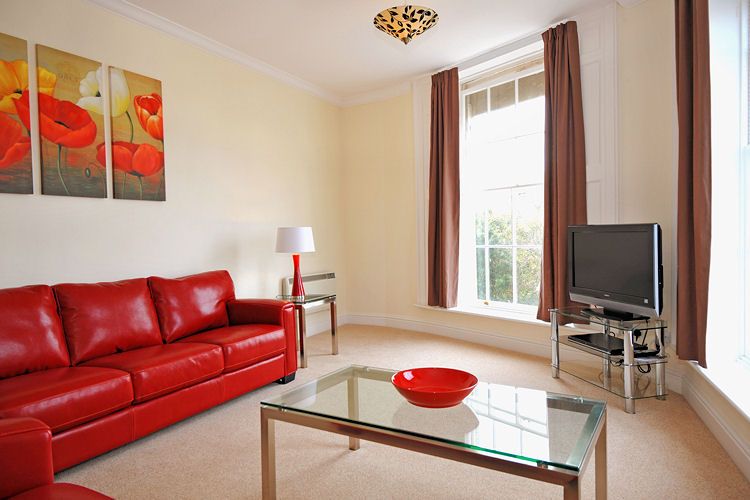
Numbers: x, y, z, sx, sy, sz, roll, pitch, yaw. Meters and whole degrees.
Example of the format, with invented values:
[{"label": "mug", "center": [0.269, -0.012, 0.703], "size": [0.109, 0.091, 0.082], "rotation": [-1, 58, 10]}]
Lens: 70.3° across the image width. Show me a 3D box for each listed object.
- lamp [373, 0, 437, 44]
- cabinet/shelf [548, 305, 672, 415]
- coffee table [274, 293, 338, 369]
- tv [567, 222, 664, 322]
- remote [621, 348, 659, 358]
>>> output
[{"label": "lamp", "center": [0.274, -2.077, 4.805], "size": [0.547, 0.371, 0.346], "rotation": [-1, 5, 1]}, {"label": "cabinet/shelf", "center": [2.151, 0.985, 4.853], "size": [0.633, 0.888, 0.485], "rotation": [8, 1, 20]}, {"label": "coffee table", "center": [-0.618, 0.842, 5.798], "size": [0.703, 0.692, 0.724], "rotation": [-2, 0, 26]}, {"label": "tv", "center": [2.193, 0.164, 4.823], "size": [0.291, 0.809, 0.861], "rotation": [-6, 6, -30]}, {"label": "remote", "center": [2.275, 0.881, 4.555], "size": [0.184, 0.047, 0.183], "rotation": [2, -4, -45]}]
